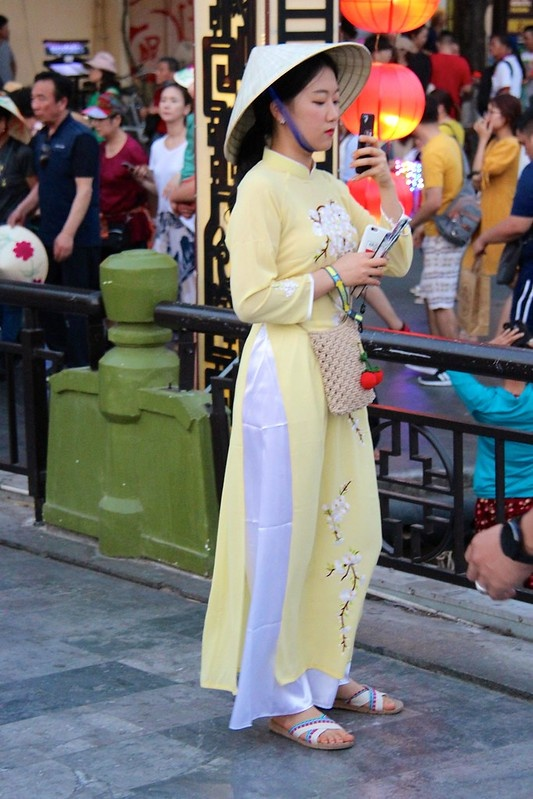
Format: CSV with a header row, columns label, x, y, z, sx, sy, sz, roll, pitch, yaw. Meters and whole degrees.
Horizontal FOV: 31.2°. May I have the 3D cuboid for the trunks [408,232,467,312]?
label,x,y,z,sx,sy,sz,roll,pitch,yaw
trunks,1.442,-1.079,7.802,0.510,0.825,0.691,-2,12,-5

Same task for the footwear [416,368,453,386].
label,x,y,z,sx,sy,sz,roll,pitch,yaw
footwear,1.221,-0.149,7.316,0.375,0.151,0.206,2,4,-14

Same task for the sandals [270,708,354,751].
label,x,y,z,sx,sy,sz,roll,pitch,yaw
sandals,0.105,0.834,2.444,0.169,0.051,0.083,3,7,38

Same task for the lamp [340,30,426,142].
label,x,y,z,sx,sy,sz,roll,pitch,yaw
lamp,0.811,-2.255,6.875,0.705,0.843,0.676,3,12,17

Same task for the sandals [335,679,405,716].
label,x,y,z,sx,sy,sz,roll,pitch,yaw
sandals,0.276,0.820,2.661,0.200,0.058,0.077,2,16,26

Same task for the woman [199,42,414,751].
label,x,y,z,sx,sy,sz,roll,pitch,yaw
woman,0.095,0.007,2.454,0.575,1.786,0.416,-4,9,-19
